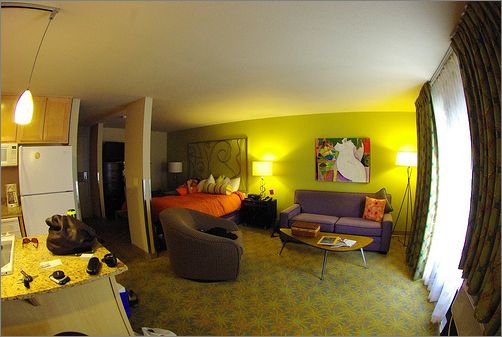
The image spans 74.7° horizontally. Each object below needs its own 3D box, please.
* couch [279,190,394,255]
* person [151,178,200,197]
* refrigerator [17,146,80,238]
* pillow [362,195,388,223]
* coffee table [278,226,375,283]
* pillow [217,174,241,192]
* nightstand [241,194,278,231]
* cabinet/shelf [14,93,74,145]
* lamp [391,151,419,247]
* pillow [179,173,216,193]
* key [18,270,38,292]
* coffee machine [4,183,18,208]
[{"bbox_3d":[1.611,0.974,6.148,1.903,1.044,0.882,1,3,24],"label":"couch"},{"bbox_3d":[-1.646,0.488,7.720,0.772,0.344,0.571,1,-3,-25],"label":"person"},{"bbox_3d":[-3.353,0.351,5.281,0.934,1.390,0.910,-2,7,-34],"label":"refrigerator"},{"bbox_3d":[2.233,0.734,5.894,0.396,0.474,0.180,2,-22,45],"label":"pillow"},{"bbox_3d":[1.159,1.300,5.401,1.005,0.575,1.430,-3,4,-37],"label":"coffee table"},{"bbox_3d":[-0.479,0.319,7.526,0.386,0.133,0.392,6,19,35],"label":"pillow"},{"bbox_3d":[0.192,0.935,7.120,0.653,0.594,0.448,2,2,34],"label":"nightstand"},{"bbox_3d":[-3.087,-0.750,4.883,0.764,0.899,0.304,0,2,-44],"label":"cabinet/shelf"},{"bbox_3d":[2.824,0.522,6.046,0.368,1.676,0.569,1,4,26],"label":"lamp"},{"bbox_3d":[-1.289,0.395,7.880,0.597,0.245,0.504,-5,7,-23],"label":"pillow"},{"bbox_3d":[-2.157,1.073,3.199,0.098,0.076,0.239,21,22,-48],"label":"key"},{"bbox_3d":[-3.821,0.432,5.266,0.159,0.348,0.280,-3,4,-36],"label":"coffee machine"}]
